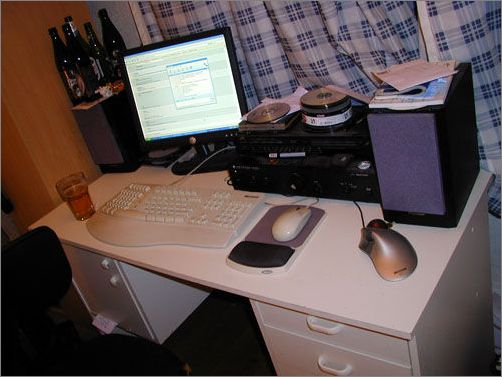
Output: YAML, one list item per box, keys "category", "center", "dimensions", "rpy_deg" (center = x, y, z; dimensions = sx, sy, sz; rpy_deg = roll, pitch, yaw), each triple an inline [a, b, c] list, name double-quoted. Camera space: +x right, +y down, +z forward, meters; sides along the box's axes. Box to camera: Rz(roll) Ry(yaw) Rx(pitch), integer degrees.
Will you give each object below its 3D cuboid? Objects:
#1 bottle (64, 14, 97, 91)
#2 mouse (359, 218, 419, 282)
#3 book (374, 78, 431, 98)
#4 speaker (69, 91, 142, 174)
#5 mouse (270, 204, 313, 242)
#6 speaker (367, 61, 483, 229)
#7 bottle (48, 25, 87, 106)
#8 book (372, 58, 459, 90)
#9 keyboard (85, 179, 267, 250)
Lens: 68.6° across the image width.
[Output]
- category: "bottle"
  center: [-0.747, -0.576, 1.607]
  dimensions: [0.079, 0.315, 0.185]
  rpy_deg: [-22, 25, -15]
- category: "mouse"
  center: [0.350, 0.154, 0.925]
  dimensions: [0.110, 0.092, 0.137]
  rpy_deg: [-17, 24, -6]
- category: "book"
  center: [0.375, -0.271, 0.953]
  dimensions: [0.127, 0.049, 0.131]
  rpy_deg: [-16, 27, -32]
- category: "speaker"
  center: [-0.626, -0.230, 1.713]
  dimensions: [0.275, 0.388, 0.222]
  rpy_deg: [18, 27, 23]
- category: "mouse"
  center: [0.117, 0.091, 1.099]
  dimensions: [0.085, 0.049, 0.167]
  rpy_deg: [9, 39, 27]
- category: "speaker"
  center: [0.485, -0.133, 1.034]
  dimensions: [0.321, 0.429, 0.235]
  rpy_deg: [14, 25, 29]
- category: "bottle"
  center: [-0.781, -0.533, 1.656]
  dimensions: [0.131, 0.354, 0.108]
  rpy_deg: [26, 36, 35]
- category: "book"
  center: [0.436, -0.304, 0.977]
  dimensions: [0.148, 0.030, 0.158]
  rpy_deg: [-21, 32, -19]
- category: "keyboard"
  center: [-0.305, 0.090, 1.322]
  dimensions: [0.659, 0.078, 0.384]
  rpy_deg: [5, 28, 26]
